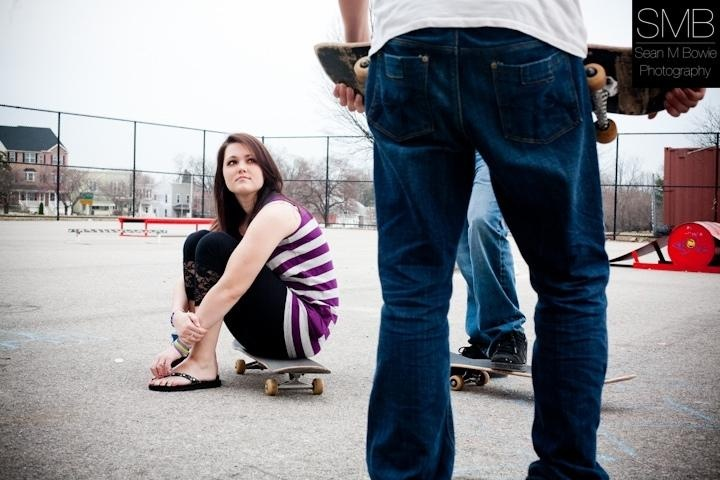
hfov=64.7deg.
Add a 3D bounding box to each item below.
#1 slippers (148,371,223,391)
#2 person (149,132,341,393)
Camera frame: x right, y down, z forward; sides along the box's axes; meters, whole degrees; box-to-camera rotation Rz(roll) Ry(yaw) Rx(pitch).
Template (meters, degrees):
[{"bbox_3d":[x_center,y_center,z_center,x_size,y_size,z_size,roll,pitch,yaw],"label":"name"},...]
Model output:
[{"bbox_3d":[-0.884,0.717,2.815,0.302,0.075,0.122,7,-14,-21],"label":"slippers"},{"bbox_3d":[-0.573,0.083,2.952,0.904,1.326,0.451,0,2,-2],"label":"person"}]
